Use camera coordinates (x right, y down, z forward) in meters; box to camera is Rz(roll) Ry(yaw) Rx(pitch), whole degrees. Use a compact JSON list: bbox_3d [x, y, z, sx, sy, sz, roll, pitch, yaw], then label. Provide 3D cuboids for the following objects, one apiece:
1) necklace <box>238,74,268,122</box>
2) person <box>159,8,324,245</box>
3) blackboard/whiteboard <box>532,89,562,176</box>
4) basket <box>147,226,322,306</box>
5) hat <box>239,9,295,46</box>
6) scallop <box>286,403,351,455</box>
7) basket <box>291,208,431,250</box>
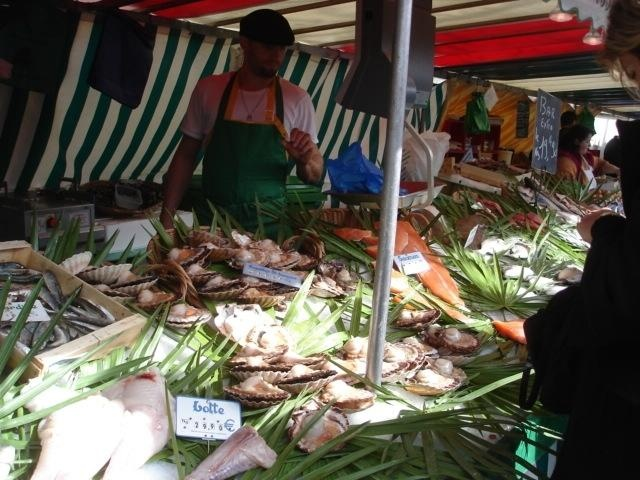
[{"bbox_3d":[-0.354,-0.718,2.383,0.197,0.217,0.060,-1,4,-5],"label":"necklace"},{"bbox_3d":[-0.385,-0.617,2.465,0.759,1.093,0.395,6,5,-12],"label":"person"},{"bbox_3d":[1.354,-0.640,2.767,0.112,0.475,0.248,6,15,27],"label":"blackboard/whiteboard"},{"bbox_3d":[-0.257,0.081,1.446,0.364,0.071,0.319,-6,22,-31],"label":"basket"},{"bbox_3d":[-0.268,-1.059,2.314,0.274,0.191,0.149,6,5,-1],"label":"hat"},{"bbox_3d":[-0.002,0.383,0.937,0.091,0.025,0.086,-12,38,-26],"label":"scallop"},{"bbox_3d":[0.135,-0.034,1.721,0.366,0.098,0.501,1,15,2],"label":"basket"}]
